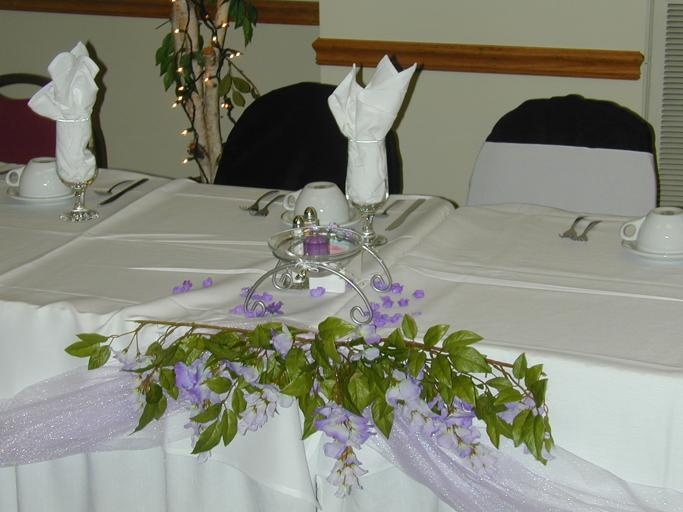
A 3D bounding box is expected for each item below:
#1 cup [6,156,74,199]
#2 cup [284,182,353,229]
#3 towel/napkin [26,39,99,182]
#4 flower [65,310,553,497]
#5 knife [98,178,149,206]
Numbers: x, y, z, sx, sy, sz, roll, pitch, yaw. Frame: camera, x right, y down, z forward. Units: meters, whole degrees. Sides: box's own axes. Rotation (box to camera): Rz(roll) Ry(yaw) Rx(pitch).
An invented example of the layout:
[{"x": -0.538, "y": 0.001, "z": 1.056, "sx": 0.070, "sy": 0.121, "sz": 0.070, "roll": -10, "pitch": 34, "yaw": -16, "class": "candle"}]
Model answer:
[{"x": -0.802, "y": -0.199, "z": 1.470, "sx": 0.170, "sy": 0.081, "sz": 0.134, "roll": 3, "pitch": 8, "yaw": -23, "class": "cup"}, {"x": -0.056, "y": -0.095, "z": 1.261, "sx": 0.139, "sy": 0.107, "sz": 0.114, "roll": -4, "pitch": -1, "yaw": -4, "class": "cup"}, {"x": -0.657, "y": -0.326, "z": 1.315, "sx": 0.150, "sy": 0.301, "sz": 0.072, "roll": -6, "pitch": 16, "yaw": -31, "class": "towel/napkin"}, {"x": -0.029, "y": 0.208, "z": 0.787, "sx": 0.560, "sy": 0.239, "sz": 0.149, "roll": 11, "pitch": 14, "yaw": 12, "class": "flower"}, {"x": -0.587, "y": -0.178, "z": 1.498, "sx": 0.027, "sy": 0.020, "sz": 0.212, "roll": 19, "pitch": 33, "yaw": 19, "class": "knife"}]
